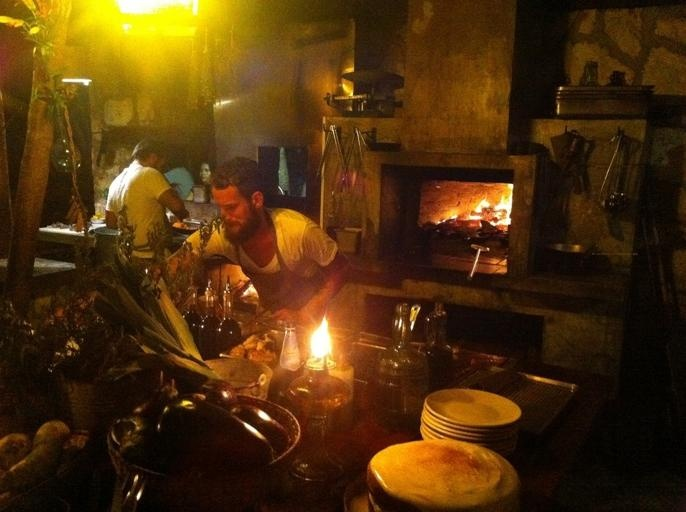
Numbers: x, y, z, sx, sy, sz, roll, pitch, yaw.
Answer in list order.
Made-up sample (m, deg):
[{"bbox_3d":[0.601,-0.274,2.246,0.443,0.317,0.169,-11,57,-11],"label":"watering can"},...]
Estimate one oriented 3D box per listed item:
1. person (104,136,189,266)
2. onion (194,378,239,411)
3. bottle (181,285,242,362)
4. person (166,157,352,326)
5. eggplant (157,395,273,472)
[{"bbox_3d":[-1.675,-0.537,4.983,0.687,1.464,0.662,6,13,4],"label":"person"},{"bbox_3d":[-0.356,0.387,1.589,0.089,0.073,0.051,25,53,16],"label":"onion"},{"bbox_3d":[-0.600,0.303,2.605,0.249,0.303,0.177,0,8,-4],"label":"bottle"},{"bbox_3d":[-0.431,-0.024,3.935,0.949,1.225,0.748,-4,16,-30],"label":"person"},{"bbox_3d":[-0.333,0.463,1.471,0.292,0.167,0.073,-1,8,-7],"label":"eggplant"}]
